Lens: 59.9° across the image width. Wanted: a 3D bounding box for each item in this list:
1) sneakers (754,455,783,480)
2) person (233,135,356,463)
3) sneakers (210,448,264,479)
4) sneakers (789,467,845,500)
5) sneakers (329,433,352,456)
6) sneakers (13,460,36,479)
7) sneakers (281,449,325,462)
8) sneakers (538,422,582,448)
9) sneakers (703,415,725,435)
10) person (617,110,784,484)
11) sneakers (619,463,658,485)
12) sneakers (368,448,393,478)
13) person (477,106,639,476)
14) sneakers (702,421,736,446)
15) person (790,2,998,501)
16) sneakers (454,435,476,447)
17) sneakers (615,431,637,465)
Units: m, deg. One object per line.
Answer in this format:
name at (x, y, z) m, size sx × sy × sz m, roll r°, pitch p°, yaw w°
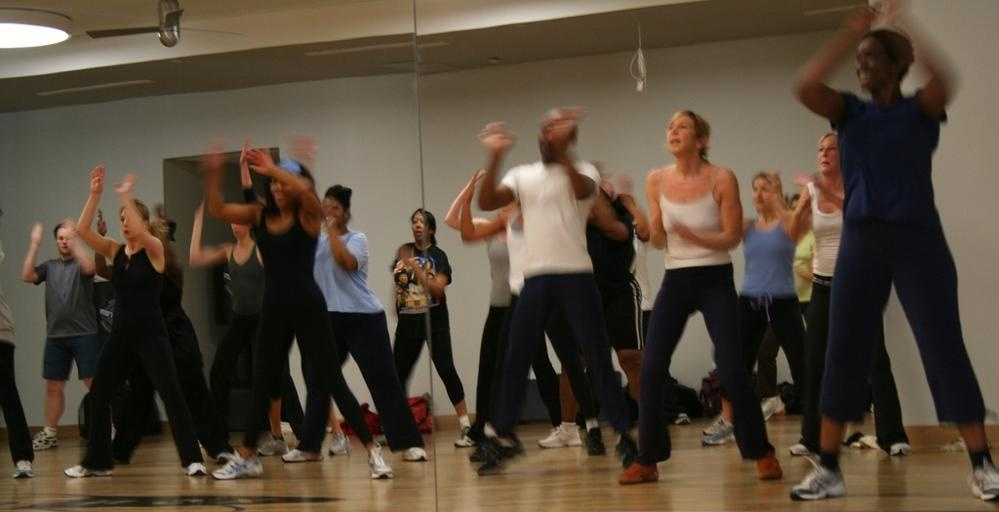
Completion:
sneakers at (1.505, 1.200, 4.893) m, size 0.163 × 0.158 × 0.099 m, roll -1°, pitch -6°, yaw -9°
person at (-1.261, 0.264, 5.359) m, size 0.797 × 1.895 × 0.256 m, roll -3°, pitch -8°, yaw -6°
sneakers at (-1.598, 1.323, 5.393) m, size 0.368 × 0.182 × 0.131 m, roll 0°, pitch -10°, yaw -5°
sneakers at (1.753, 1.277, 4.832) m, size 0.292 × 0.204 × 0.157 m, roll 3°, pitch -12°, yaw 4°
sneakers at (-1.008, 1.186, 5.381) m, size 0.075 × 0.111 × 0.212 m, roll -6°, pitch -16°, yaw 16°
sneakers at (-3.037, 1.372, 5.492) m, size 0.078 × 0.073 × 0.167 m, roll 3°, pitch -13°, yaw -20°
sneakers at (-1.236, 1.259, 5.371) m, size 0.176 × 0.065 × 0.101 m, roll 8°, pitch -12°, yaw -12°
sneakers at (0.355, 1.037, 4.939) m, size 0.278 × 0.133 × 0.097 m, roll 0°, pitch -5°, yaw -1°
sneakers at (1.217, 0.962, 4.899) m, size 0.170 × 0.072 × 0.057 m, roll -14°, pitch 8°, yaw -13°
person at (1.077, 0.240, 4.908) m, size 0.803 × 2.086 × 0.314 m, roll -6°, pitch -8°, yaw 14°
sneakers at (0.789, 1.239, 4.875) m, size 0.198 × 0.084 × 0.107 m, roll 2°, pitch -10°, yaw 2°
sneakers at (-0.712, 1.267, 5.172) m, size 0.091 × 0.105 × 0.249 m, roll 1°, pitch -9°, yaw -16°
person at (0.318, 0.192, 4.875) m, size 0.946 × 2.063 × 0.679 m, roll 0°, pitch -2°, yaw 0°
sneakers at (1.248, 1.018, 4.895) m, size 0.235 × 0.102 × 0.085 m, roll -2°, pitch 2°, yaw -7°
person at (2.118, -0.020, 4.787) m, size 0.965 × 2.765 × 0.360 m, roll -5°, pitch -8°, yaw 10°
sneakers at (-0.211, 1.093, 5.052) m, size 0.147 × 0.064 × 0.051 m, roll 0°, pitch -5°, yaw 21°
sneakers at (0.720, 1.100, 4.898) m, size 0.113 × 0.169 × 0.063 m, roll -5°, pitch -3°, yaw 23°
